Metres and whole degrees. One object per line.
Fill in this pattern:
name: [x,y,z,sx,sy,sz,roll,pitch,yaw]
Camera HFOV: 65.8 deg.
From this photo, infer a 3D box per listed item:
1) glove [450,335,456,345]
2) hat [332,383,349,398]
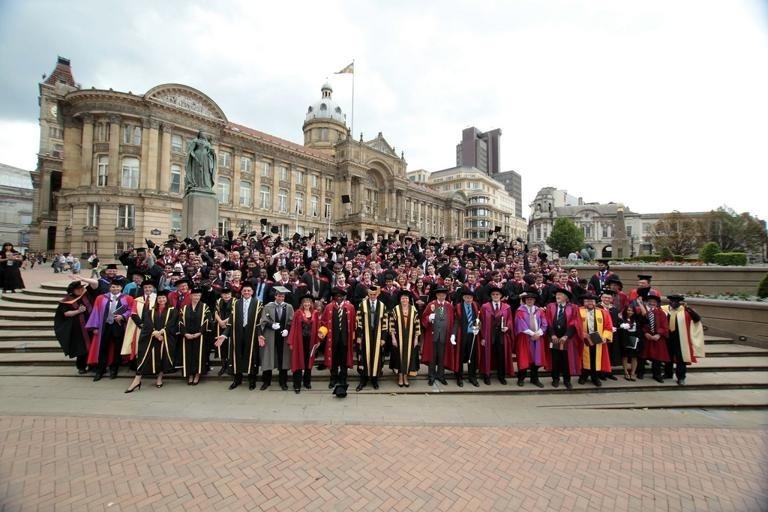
glove: [2.440,3.002,21.235,0.187,0.390,0.280,0,-4,18]
hat: [-1.535,4.706,20.611,0.432,0.279,0.403,0,2,-3]
